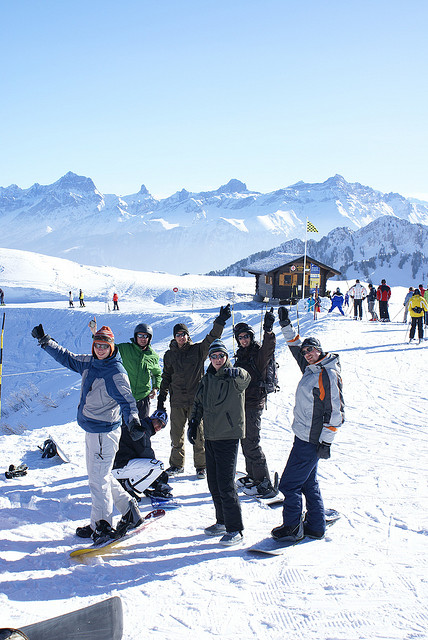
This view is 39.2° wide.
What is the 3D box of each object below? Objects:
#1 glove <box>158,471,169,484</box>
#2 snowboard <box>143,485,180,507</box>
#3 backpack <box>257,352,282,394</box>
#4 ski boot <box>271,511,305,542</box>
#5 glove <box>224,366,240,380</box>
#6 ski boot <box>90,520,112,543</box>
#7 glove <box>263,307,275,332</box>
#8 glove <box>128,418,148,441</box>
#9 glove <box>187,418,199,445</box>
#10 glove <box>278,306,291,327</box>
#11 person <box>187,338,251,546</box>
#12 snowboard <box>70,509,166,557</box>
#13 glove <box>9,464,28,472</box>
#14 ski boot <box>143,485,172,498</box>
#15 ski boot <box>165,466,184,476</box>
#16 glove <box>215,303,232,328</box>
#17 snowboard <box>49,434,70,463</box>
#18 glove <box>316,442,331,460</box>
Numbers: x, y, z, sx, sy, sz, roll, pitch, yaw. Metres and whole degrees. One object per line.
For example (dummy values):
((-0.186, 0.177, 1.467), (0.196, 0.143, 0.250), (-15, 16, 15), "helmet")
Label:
((-0.639, 2.053, 7.724), (0.125, 0.164, 0.173), (-4, 12, -17), "glove")
((-0.666, 2.229, 7.480), (0.551, 0.251, 0.187), (2, 5, 33), "snowboard")
((0.600, 0.663, 7.786), (0.316, 0.546, 0.395), (3, 6, -37), "backpack")
((0.772, 2.253, 6.544), (0.384, 0.369, 0.205), (7, -3, 3), "ski boot")
((0.179, 0.593, 6.541), (0.121, 0.131, 0.285), (-1, 4, -21), "glove")
((-1.162, 2.180, 6.199), (0.180, 0.201, 0.136), (0, 3, -2), "ski boot")
((0.673, 0.006, 7.513), (0.125, 0.302, 0.337), (0, 3, 5), "glove")
((-0.727, 1.039, 5.640), (0.170, 0.169, 0.073), (42, 8, 20), "glove")
((-0.233, 1.305, 6.906), (0.173, 0.263, 0.083), (-4, -10, 31), "glove")
((0.878, -0.060, 7.534), (0.109, 0.291, 0.129), (-6, -23, 10), "glove")
((0.063, 1.322, 6.620), (0.527, 2.124, 0.805), (-1, 3, -23), "person")
((-1.024, 2.290, 6.389), (0.160, 0.093, 1.106), (-8, 10, 43), "snowboard")
((-2.760, 2.093, 8.437), (0.128, 0.037, 0.127), (0, 9, 26), "glove")
((-0.765, 2.190, 7.679), (0.430, 0.213, 0.144), (1, 0, 8), "ski boot")
((-0.569, 2.171, 8.603), (0.319, 0.132, 0.125), (2, -5, -14), "ski boot")
((0.107, -0.066, 8.078), (0.193, 0.291, 0.554), (0, 3, 1), "glove")
((-2.419, 2.024, 9.331), (0.129, 0.080, 0.737), (-13, 33, -25), "snowboard")
((1.129, 1.365, 6.236), (0.126, 0.186, 0.228), (0, 3, 8), "glove")
